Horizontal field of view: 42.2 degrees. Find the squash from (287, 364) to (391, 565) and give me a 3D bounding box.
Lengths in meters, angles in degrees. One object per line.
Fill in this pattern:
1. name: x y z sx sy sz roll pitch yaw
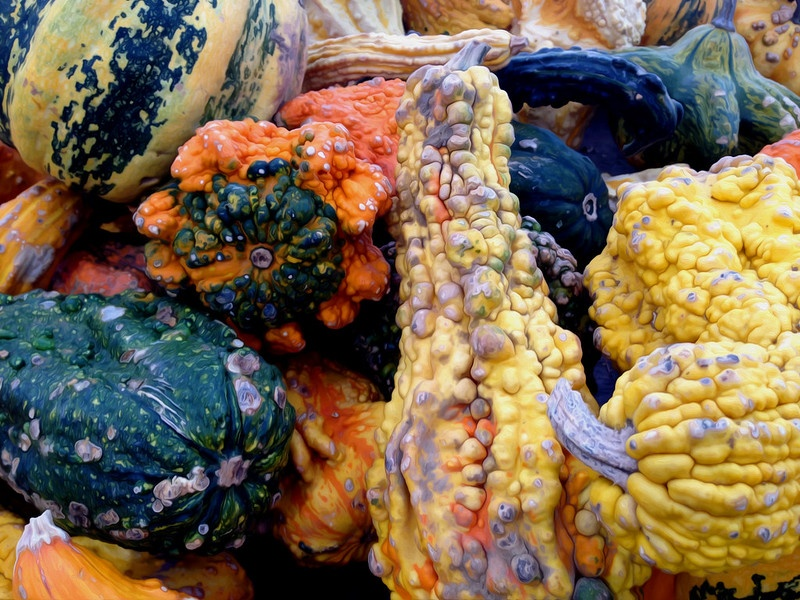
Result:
1. squash: -0.143 0.358 2.257 0.171 0.247 0.403 -12 76 41
